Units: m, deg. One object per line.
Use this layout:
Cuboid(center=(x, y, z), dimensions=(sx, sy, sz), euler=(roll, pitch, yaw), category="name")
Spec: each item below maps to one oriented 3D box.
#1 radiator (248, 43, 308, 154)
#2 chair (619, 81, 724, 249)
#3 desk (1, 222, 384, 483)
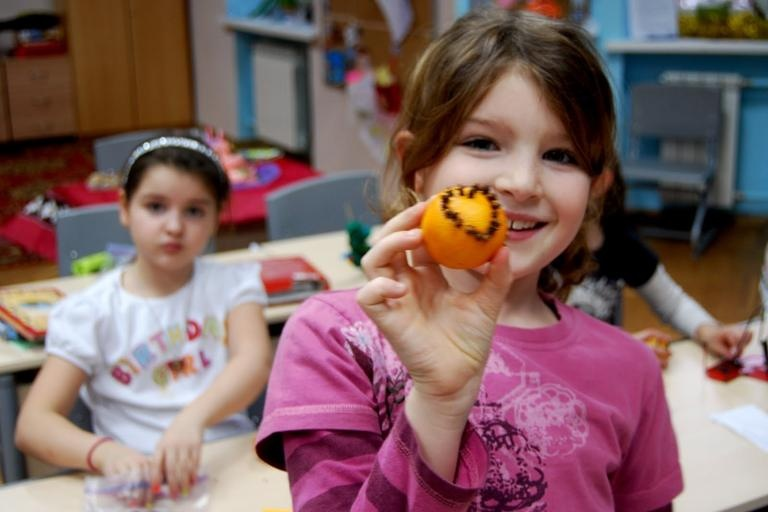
Cuboid(center=(-0.534, -0.822, 3.252), dimensions=(0.341, 0.535, 0.049), euler=(12, 26, 19), category="radiator")
Cuboid(center=(1.704, -0.445, 3.894), dimensions=(0.671, 1.035, 0.677), euler=(2, -16, 27), category="chair")
Cuboid(center=(-0.912, 0.595, 2.976), dimensions=(1.742, 0.742, 0.909), euler=(2, -33, -32), category="desk")
